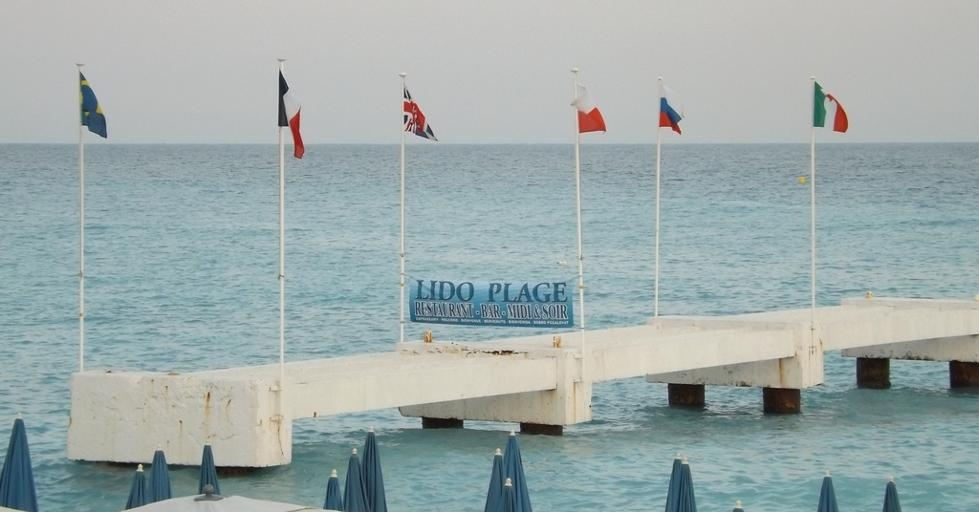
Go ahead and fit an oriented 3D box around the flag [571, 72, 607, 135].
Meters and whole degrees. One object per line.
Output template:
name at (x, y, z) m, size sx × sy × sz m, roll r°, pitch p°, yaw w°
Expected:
flag at (6.405, -9.952, 122.476) m, size 2.402 × 5.813 × 1.622 m, roll -8°, pitch -47°, yaw 12°
